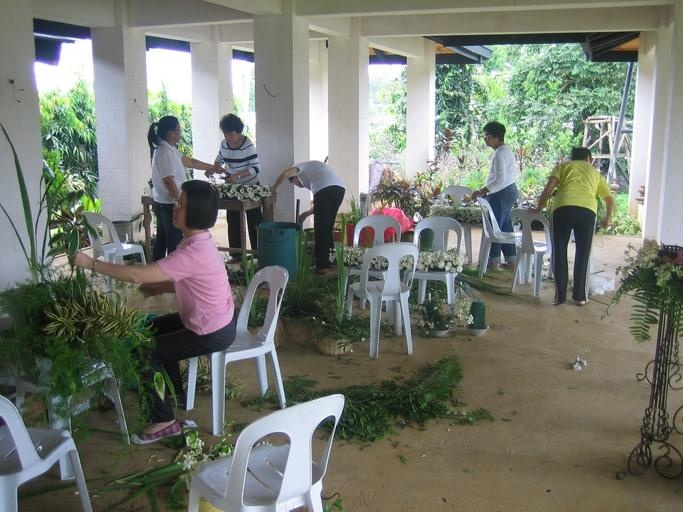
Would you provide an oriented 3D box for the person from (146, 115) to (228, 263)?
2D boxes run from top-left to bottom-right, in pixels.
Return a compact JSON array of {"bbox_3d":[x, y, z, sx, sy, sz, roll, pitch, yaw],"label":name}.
[{"bbox_3d":[-2.026,-0.631,6.960,1.002,2.205,0.724,-6,22,-36],"label":"person"}]

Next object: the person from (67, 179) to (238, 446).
[{"bbox_3d":[-1.128,0.378,3.471,0.736,1.672,0.921,6,6,19],"label":"person"}]

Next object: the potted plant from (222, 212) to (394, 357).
[{"bbox_3d":[-0.317,0.243,5.214,1.339,0.641,1.023,10,10,6],"label":"potted plant"}]

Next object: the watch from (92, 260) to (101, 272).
[{"bbox_3d":[-1.418,0.058,3.065,0.041,0.054,0.065,13,41,-1],"label":"watch"}]

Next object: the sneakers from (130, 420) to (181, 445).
[{"bbox_3d":[-1.202,1.156,3.474,0.310,0.123,0.121,-6,9,-29],"label":"sneakers"}]

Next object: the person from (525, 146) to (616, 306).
[{"bbox_3d":[2.630,-0.333,6.070,0.768,1.758,0.533,6,11,25],"label":"person"}]

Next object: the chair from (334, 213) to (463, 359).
[{"bbox_3d":[0.395,0.299,5.113,0.767,1.011,1.123,2,10,8],"label":"chair"}]
